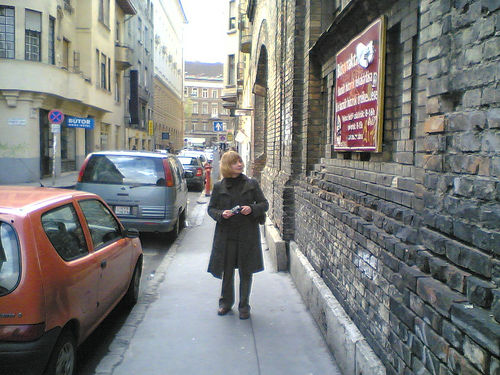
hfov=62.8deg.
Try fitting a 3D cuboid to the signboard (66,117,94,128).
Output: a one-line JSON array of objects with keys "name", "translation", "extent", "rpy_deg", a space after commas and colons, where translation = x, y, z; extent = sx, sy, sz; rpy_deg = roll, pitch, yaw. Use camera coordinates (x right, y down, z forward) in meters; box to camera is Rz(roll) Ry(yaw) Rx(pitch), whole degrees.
[{"name": "signboard", "translation": [-8.350, -3.175, 20.038], "extent": [1.018, 0.448, 0.202], "rpy_deg": [-1, -2, -20]}]

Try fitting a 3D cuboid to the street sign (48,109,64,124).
[{"name": "street sign", "translation": [-8.013, -2.929, 16.893], "extent": [0.453, 0.565, 0.572], "rpy_deg": [-4, 6, -36]}]

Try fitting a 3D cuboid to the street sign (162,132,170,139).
[{"name": "street sign", "translation": [-10.904, -6.741, 53.184], "extent": [0.695, 0.792, 2.121], "rpy_deg": [1, 6, 10]}]

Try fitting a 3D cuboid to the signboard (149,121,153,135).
[{"name": "signboard", "translation": [-10.650, -6.450, 43.891], "extent": [0.368, 1.342, 0.802], "rpy_deg": [-2, 5, -24]}]

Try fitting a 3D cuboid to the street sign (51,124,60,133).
[{"name": "street sign", "translation": [-8.010, -2.441, 16.898], "extent": [0.281, 0.366, 0.230], "rpy_deg": [-4, 6, -34]}]

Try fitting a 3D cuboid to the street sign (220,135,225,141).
[{"name": "street sign", "translation": [-3.196, -5.754, 48.152], "extent": [0.121, 0.497, 0.448], "rpy_deg": [-6, 21, -42]}]

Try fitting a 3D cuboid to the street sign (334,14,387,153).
[{"name": "street sign", "translation": [1.108, -1.022, 4.442], "extent": [0.068, 1.156, 1.487], "rpy_deg": [8, 27, 28]}]

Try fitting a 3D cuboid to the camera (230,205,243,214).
[{"name": "camera", "translation": [-0.163, 0.259, 4.786], "extent": [0.077, 0.042, 0.104], "rpy_deg": [-34, -7, -32]}]

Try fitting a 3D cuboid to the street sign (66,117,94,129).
[{"name": "street sign", "translation": [-8.621, -3.251, 20.642], "extent": [1.296, 0.564, 0.237], "rpy_deg": [1, -4, -24]}]

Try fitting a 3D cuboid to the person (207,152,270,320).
[{"name": "person", "translation": [-0.148, 0.566, 5.206], "extent": [0.749, 2.029, 0.821], "rpy_deg": [0, 5, 1]}]

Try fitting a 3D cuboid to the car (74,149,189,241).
[{"name": "car", "translation": [-2.243, 0.067, 9.425], "extent": [1.477, 1.264, 2.549], "rpy_deg": [2, 11, 3]}]

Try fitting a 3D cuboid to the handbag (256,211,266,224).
[{"name": "handbag", "translation": [0.136, 0.366, 5.054], "extent": [0.123, 0.129, 0.214], "rpy_deg": [-2, -8, 1]}]

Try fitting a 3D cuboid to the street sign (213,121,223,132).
[{"name": "street sign", "translation": [-2.044, -4.017, 26.682], "extent": [0.518, 0.564, 1.134], "rpy_deg": [-1, 5, -5]}]
